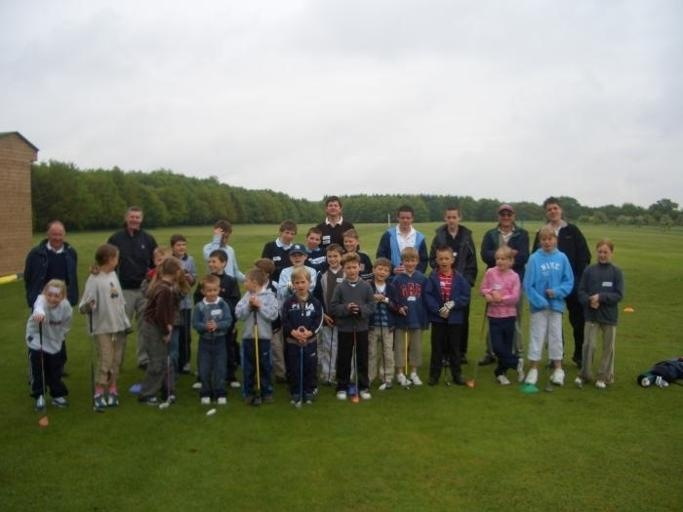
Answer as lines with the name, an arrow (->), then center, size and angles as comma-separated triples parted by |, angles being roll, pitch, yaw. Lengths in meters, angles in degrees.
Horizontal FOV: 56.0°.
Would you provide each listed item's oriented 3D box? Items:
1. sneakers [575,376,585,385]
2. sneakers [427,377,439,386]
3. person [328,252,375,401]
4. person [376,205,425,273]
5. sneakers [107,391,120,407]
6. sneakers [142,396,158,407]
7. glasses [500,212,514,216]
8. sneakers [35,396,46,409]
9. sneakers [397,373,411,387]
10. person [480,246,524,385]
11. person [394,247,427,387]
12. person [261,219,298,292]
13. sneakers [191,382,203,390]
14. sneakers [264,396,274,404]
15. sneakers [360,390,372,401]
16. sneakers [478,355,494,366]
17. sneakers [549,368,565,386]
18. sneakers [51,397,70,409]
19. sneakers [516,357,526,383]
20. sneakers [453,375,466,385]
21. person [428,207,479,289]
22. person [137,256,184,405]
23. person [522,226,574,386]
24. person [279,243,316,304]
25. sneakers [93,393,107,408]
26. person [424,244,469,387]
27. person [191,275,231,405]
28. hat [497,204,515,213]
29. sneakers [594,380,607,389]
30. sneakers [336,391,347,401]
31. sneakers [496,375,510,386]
sneakers -> 3.633, 1.887, 9.791 | 0.134, 0.139, 0.110 | 1, 3, 19
sneakers -> 1.411, 1.947, 10.004 | 0.075, 0.082, 0.173 | 1, -13, 31
person -> 0.145, 1.029, 9.538 | 0.650, 2.007, 0.809 | 2, 14, 9
person -> 1.045, -0.169, 11.004 | 0.860, 1.346, 0.711 | 1, 3, 0
sneakers -> -3.287, 2.044, 9.233 | 0.154, 0.200, 0.315 | -6, 16, -20
sneakers -> -2.745, 2.090, 9.240 | 0.160, 0.111, 0.119 | -7, -6, 22
glasses -> 2.767, -0.712, 10.771 | 0.209, 0.072, 0.105 | 3, 15, 13
sneakers -> -4.223, 2.046, 9.000 | 0.117, 0.185, 0.182 | -7, 16, -23
sneakers -> 0.979, 1.925, 9.954 | 0.221, 0.191, 0.277 | 1, 15, 4
person -> 2.534, 0.997, 10.244 | 0.662, 2.164, 1.011 | 1, 14, 7
person -> 1.079, 0.960, 10.097 | 0.549, 2.065, 0.927 | 1, 14, 6
person -> -0.975, 0.215, 10.601 | 0.703, 1.565, 0.425 | 3, -6, -18
sneakers -> -2.250, 2.023, 9.996 | 0.132, 0.101, 0.201 | 4, -16, -10
sneakers -> -1.067, 2.081, 9.351 | 0.135, 0.053, 0.169 | -4, 16, -13
sneakers -> 0.358, 2.053, 9.477 | 0.172, 0.071, 0.241 | 1, 15, 4
sneakers -> 2.569, 1.821, 11.172 | 0.374, 0.174, 0.132 | 1, -1, -14
sneakers -> 3.359, 1.858, 9.973 | 0.220, 0.234, 0.408 | 5, 16, 20
sneakers -> -3.997, 2.098, 9.165 | 0.235, 0.125, 0.120 | -1, 0, 35
sneakers -> 2.845, 1.775, 10.060 | 0.144, 0.469, 0.191 | -1, -7, 0
sneakers -> 1.829, 1.944, 10.021 | 0.083, 0.115, 0.243 | 1, -4, -35
person -> 1.939, 0.227, 11.116 | 0.771, 2.081, 0.634 | 0, 1, 15
person -> -2.651, 1.108, 9.404 | 0.501, 2.079, 0.895 | 1, 14, 5
person -> 3.202, 0.812, 10.031 | 0.746, 2.393, 1.111 | 5, 15, 19
person -> -0.673, 0.484, 10.112 | 0.690, 1.361, 0.614 | 2, 1, -9
sneakers -> -3.411, 2.047, 9.100 | 0.126, 0.161, 0.339 | 1, 0, -43
person -> 1.664, 0.932, 10.157 | 0.696, 2.049, 0.893 | 2, 15, 9
person -> -1.989, 1.301, 9.982 | 0.654, 2.068, 0.583 | -6, 26, -22
hat -> 2.765, -0.805, 10.821 | 0.243, 0.120, 0.232 | 10, 18, 32
sneakers -> 3.936, 1.931, 9.715 | 0.170, 0.085, 0.154 | 4, 16, 14
sneakers -> 0.009, 2.058, 9.476 | 0.160, 0.080, 0.191 | 0, 15, 1
sneakers -> 2.533, 1.945, 10.070 | 0.112, 0.067, 0.150 | 2, 8, -6
